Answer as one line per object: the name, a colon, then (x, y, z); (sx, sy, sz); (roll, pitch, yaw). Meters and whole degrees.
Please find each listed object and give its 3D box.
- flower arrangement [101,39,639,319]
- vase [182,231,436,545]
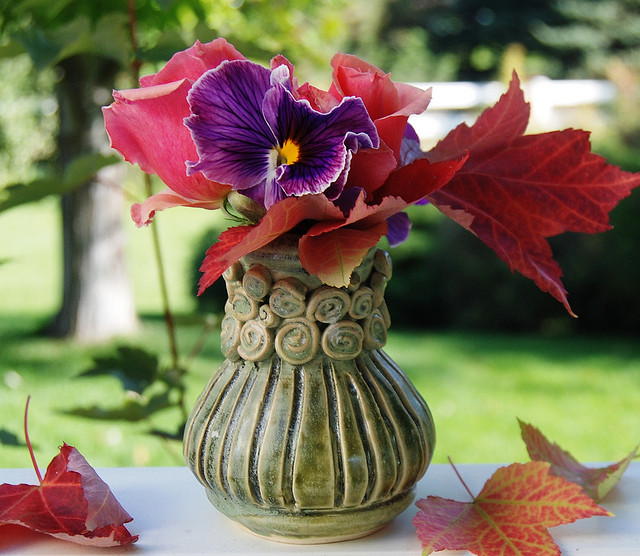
flower arrangement: (0.074, -0.111, 1.305); (0.617, 0.211, 0.484); (-11, 30, 0)
vase: (-0.016, 0.157, 1.448); (0.521, 0.445, 0.453); (0, -1, -4)
